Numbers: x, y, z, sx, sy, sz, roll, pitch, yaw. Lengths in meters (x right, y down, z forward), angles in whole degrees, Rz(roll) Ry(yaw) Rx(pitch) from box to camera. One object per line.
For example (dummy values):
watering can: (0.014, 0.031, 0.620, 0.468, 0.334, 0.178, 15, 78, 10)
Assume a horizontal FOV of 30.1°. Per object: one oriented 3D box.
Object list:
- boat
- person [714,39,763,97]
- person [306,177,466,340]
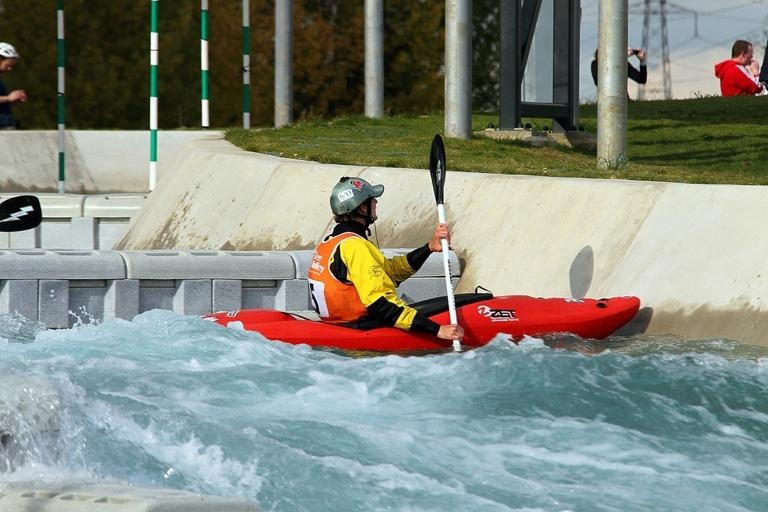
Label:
boat: (0.434, 0.758, 16.637, 5.109, 0.621, 1.404, 0, -4, -10)
person: (5.622, -2.945, 22.412, 0.692, 0.831, 1.077, 3, 5, 10)
person: (-0.087, 0.027, 16.398, 1.553, 1.815, 0.891, 1, 5, -3)
